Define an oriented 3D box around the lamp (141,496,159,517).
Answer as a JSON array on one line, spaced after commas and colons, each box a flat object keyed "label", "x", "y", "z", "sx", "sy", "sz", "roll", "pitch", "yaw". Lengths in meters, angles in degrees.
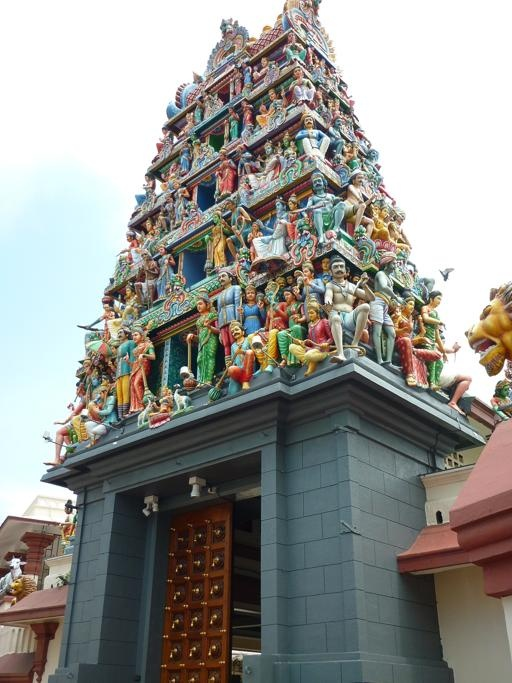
[{"label": "lamp", "x": -2.026, "y": 3.150, "z": 12.045, "sx": 0.429, "sy": 0.383, "sz": 0.177, "roll": -17, "pitch": -32, "yaw": 27}]
